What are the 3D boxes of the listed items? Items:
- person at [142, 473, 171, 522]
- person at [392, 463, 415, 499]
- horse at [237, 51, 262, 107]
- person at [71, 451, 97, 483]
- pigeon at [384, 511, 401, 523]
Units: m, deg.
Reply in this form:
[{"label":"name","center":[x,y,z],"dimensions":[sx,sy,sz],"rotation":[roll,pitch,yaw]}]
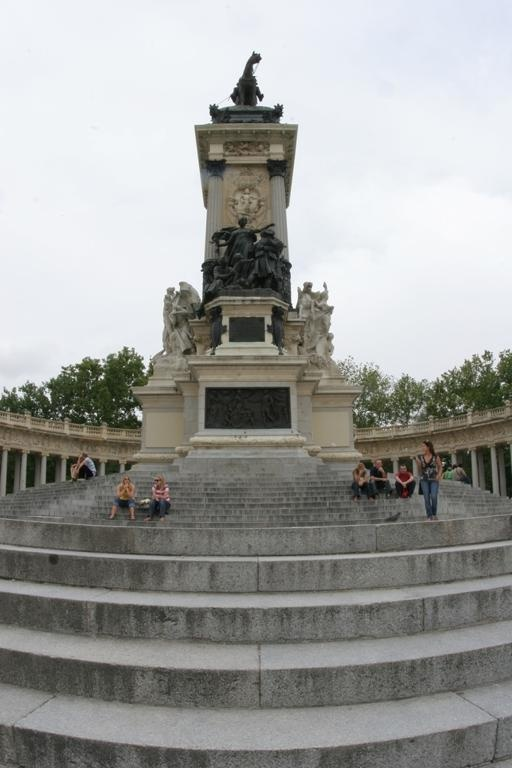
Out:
[{"label":"person","center":[-1.634,1.900,12.698],"dimensions":[0.340,0.708,0.578],"rotation":[0,-10,0]},{"label":"person","center":[2.710,1.798,14.072],"dimensions":[0.334,0.626,1.092],"rotation":[-2,-10,10]},{"label":"horse","center":[-0.286,-13.330,33.994],"dimensions":[0.984,2.729,2.554],"rotation":[0,-10,-1]},{"label":"person","center":[-4.524,2.180,20.257],"dimensions":[0.577,0.738,0.960],"rotation":[2,-10,-11]},{"label":"pigeon","center":[2.132,2.090,12.038],"dimensions":[0.258,0.149,0.523],"rotation":[-2,-10,10]}]
